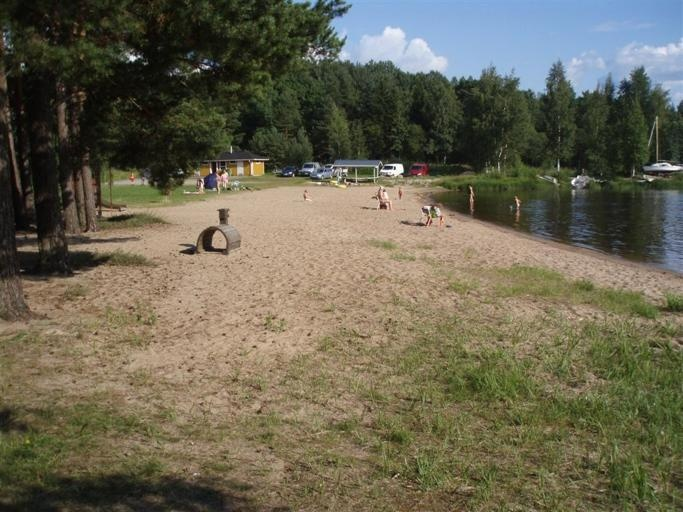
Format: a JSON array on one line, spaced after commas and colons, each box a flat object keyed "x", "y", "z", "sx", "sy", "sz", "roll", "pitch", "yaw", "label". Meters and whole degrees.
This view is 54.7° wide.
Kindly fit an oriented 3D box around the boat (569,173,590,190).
[{"x": 25.017, "y": -7.299, "z": 68.927, "sx": 1.501, "sy": 1.355, "sz": 5.482, "roll": 6, "pitch": 26, "yaw": 27, "label": "boat"}]

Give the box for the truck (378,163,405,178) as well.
[{"x": 5.835, "y": -9.863, "z": 75.844, "sx": 1.525, "sy": 1.677, "sz": 2.886, "roll": 3, "pitch": 3, "yaw": 39, "label": "truck"}]

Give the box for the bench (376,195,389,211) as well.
[{"x": 2.216, "y": -2.691, "z": 34.188, "sx": 0.584, "sy": 0.892, "sz": 0.494, "roll": 2, "pitch": 8, "yaw": 25, "label": "bench"}]

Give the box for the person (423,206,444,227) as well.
[{"x": 3.786, "y": -1.763, "z": 28.275, "sx": 1.040, "sy": 1.211, "sz": 0.371, "roll": -4, "pitch": 9, "yaw": -19, "label": "person"}]

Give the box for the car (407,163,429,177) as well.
[{"x": 9.591, "y": -10.615, "z": 81.365, "sx": 1.520, "sy": 1.735, "sz": 2.624, "roll": 8, "pitch": 16, "yaw": 32, "label": "car"}]
